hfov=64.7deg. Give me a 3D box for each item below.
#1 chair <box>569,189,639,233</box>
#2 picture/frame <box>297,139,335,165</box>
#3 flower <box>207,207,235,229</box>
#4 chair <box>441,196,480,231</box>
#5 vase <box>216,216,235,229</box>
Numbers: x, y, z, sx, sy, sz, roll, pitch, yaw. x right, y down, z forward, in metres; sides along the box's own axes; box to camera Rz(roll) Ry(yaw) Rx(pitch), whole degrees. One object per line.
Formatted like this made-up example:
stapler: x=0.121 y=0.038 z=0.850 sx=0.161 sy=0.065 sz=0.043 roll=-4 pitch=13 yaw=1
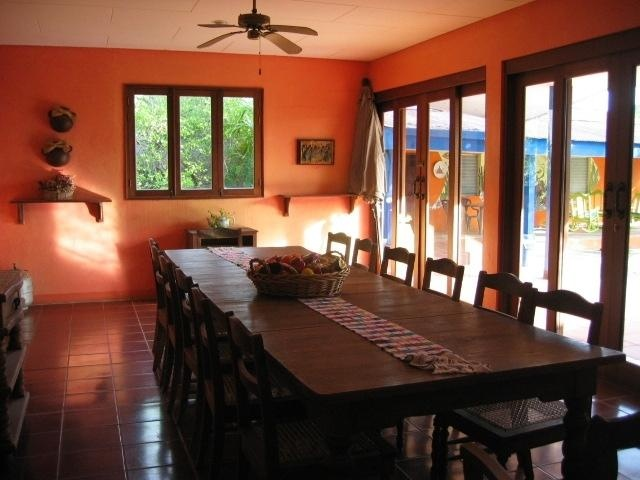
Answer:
chair: x=2.229 y=-0.227 z=4.060 sx=0.211 sy=0.258 sz=0.372 roll=1 pitch=1 yaw=6
picture/frame: x=-0.080 y=-1.193 z=6.791 sx=0.348 sy=0.250 sz=0.049 roll=-2 pitch=14 yaw=-16
flower: x=-1.215 y=-0.258 z=6.286 sx=0.265 sy=0.233 sz=0.267 roll=2 pitch=-2 yaw=-19
chair: x=1.551 y=-0.313 z=5.470 sx=0.322 sy=0.448 sz=0.359 roll=-13 pitch=18 yaw=-42
vase: x=-1.163 y=-0.213 z=6.231 sx=0.153 sy=0.136 sz=0.154 roll=0 pitch=0 yaw=-26
